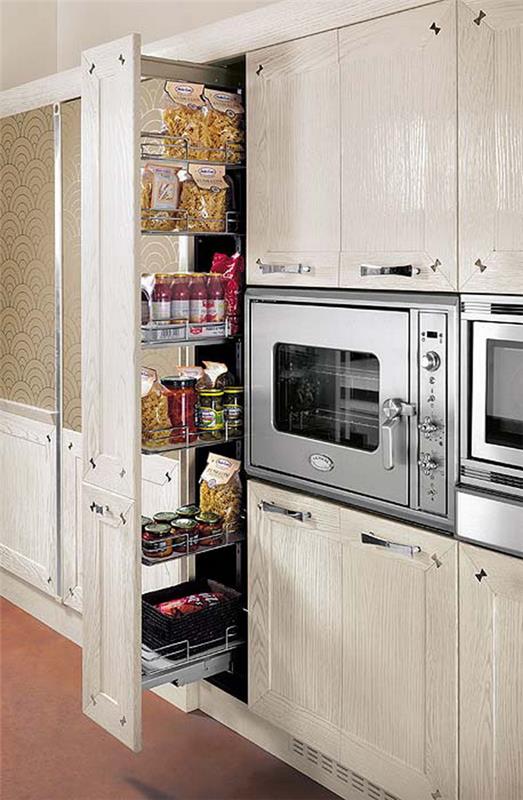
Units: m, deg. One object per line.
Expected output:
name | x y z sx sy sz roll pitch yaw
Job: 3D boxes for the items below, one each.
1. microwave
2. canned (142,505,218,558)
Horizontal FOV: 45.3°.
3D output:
microwave | 0.210 0.020 1.388 0.280 0.491 0.541 -2 5 -39
canned | -0.230 0.366 1.726 0.102 0.045 0.148 6 10 39
